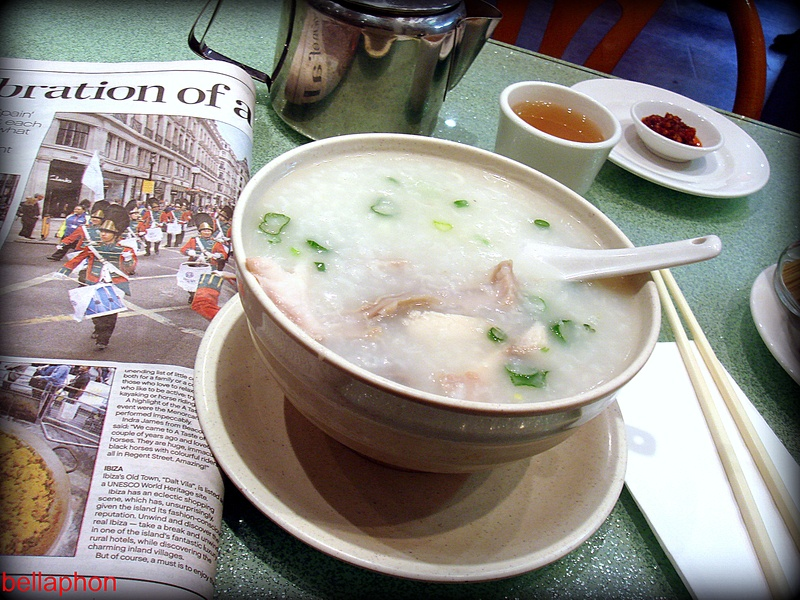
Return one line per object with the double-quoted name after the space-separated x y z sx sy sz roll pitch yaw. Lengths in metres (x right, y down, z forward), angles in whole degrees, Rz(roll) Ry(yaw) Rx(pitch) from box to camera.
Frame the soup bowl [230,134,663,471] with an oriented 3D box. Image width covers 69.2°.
0.053 -0.037 0.722 0.506 0.147 0.464 6 58 -10 "soup bowl"
